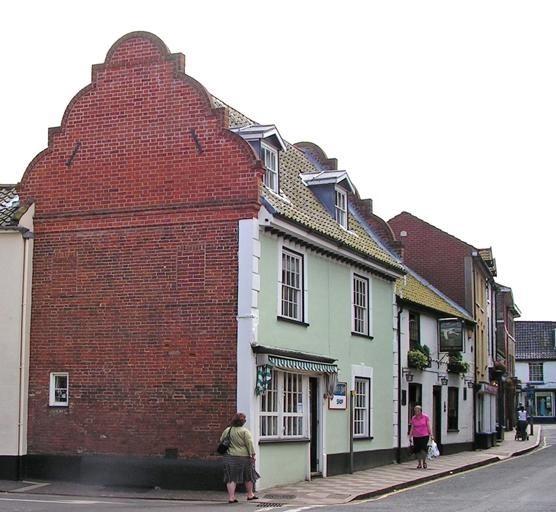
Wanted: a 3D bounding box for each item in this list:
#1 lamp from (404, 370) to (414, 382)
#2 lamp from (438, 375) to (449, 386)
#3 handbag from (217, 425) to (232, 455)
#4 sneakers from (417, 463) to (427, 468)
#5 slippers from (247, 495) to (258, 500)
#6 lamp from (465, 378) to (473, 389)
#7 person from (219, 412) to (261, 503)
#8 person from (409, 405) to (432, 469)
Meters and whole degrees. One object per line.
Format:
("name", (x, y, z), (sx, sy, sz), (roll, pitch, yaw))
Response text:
("lamp", (4.032, 3.653, 33.110), (0.181, 0.389, 0.818), (-6, -16, 15))
("lamp", (5.625, 4.200, 36.655), (0.258, 0.388, 0.818), (-6, -16, 16))
("handbag", (-1.135, 3.911, 22.848), (0.188, 0.544, 0.448), (19, -43, 7))
("sneakers", (3.991, 5.800, 29.825), (0.111, 0.158, 0.357), (-4, -13, 18))
("slippers", (-0.534, 5.077, 22.651), (0.084, 0.111, 0.243), (0, 0, 36))
("lamp", (7.037, 4.706, 39.917), (0.346, 0.533, 0.407), (-3, -5, 21))
("person", (-0.853, 4.222, 22.566), (0.736, 1.815, 0.596), (-2, -13, -1))
("person", (3.918, 5.007, 29.798), (0.516, 1.699, 0.511), (-9, -15, 28))
